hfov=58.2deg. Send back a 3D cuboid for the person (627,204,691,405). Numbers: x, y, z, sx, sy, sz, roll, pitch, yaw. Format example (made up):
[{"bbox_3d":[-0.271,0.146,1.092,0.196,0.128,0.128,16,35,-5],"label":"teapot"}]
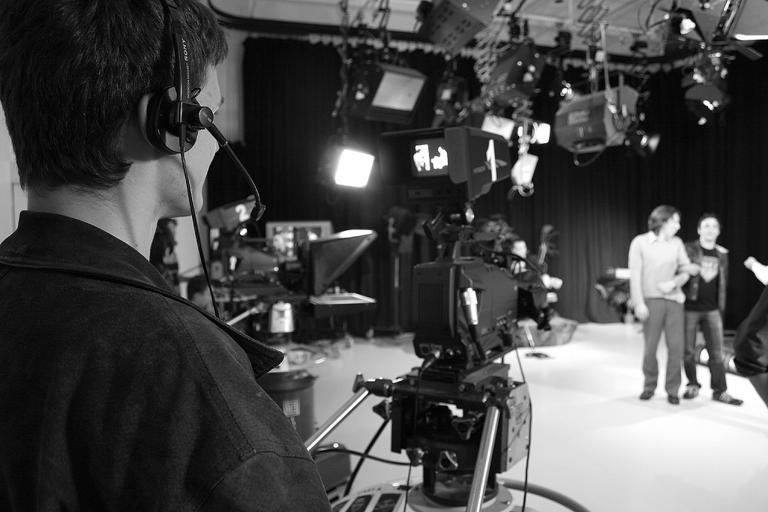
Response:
[{"bbox_3d":[1.954,0.342,4.925,0.411,1.395,0.279,2,6,21],"label":"person"}]

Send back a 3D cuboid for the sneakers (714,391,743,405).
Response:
[{"bbox_3d":[2.376,1.004,4.860,0.072,0.105,0.236,-10,3,-44],"label":"sneakers"}]
